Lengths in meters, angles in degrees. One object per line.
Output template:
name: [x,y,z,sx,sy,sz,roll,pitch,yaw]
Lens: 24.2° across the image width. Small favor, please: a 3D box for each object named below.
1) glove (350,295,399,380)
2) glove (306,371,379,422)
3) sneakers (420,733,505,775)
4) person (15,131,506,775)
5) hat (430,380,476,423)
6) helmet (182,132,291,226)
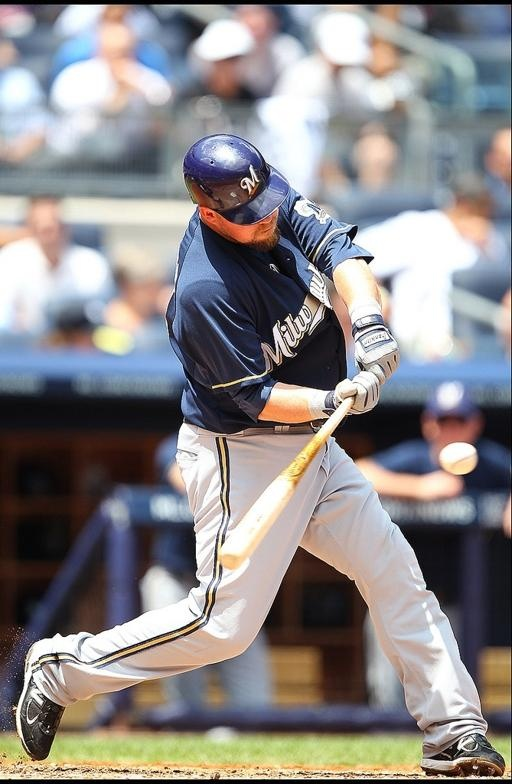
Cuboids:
glove: [0.271,-0.135,3.011,0.128,0.189,0.083,-21,-4,-3]
glove: [0.212,0.005,2.895,0.148,0.057,0.110,-14,6,13]
sneakers: [0.520,0.921,3.032,0.195,0.084,0.099,-15,-20,39]
person: [0.001,0.159,3.103,1.226,1.479,0.966,3,33,9]
hat: [0.982,0.045,6.053,0.220,0.107,0.203,0,8,-9]
helmet: [-0.052,-0.557,3.009,0.293,0.139,0.214,27,55,29]
